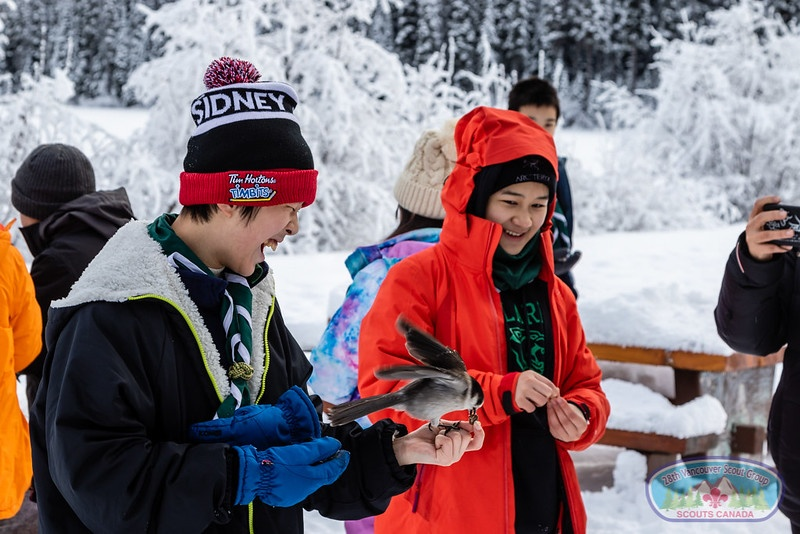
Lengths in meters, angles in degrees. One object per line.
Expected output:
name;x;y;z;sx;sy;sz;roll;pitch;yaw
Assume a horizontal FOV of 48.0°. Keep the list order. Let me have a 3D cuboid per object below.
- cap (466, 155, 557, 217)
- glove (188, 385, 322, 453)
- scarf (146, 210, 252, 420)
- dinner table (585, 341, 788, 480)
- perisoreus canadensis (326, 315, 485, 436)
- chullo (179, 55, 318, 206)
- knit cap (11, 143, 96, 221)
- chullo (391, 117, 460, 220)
cap;0.691;-0.469;5.570;0.368;0.237;0.467;1;-10;-41
glove;-0.750;0.862;4.992;0.510;0.217;0.326;-4;8;-12
scarf;-1.245;0.316;5.184;0.393;1.025;0.773;-21;-24;34
dinner table;2.140;1.244;8.324;1.704;0.840;1.706;11;-11;-32
perisoreus canadensis;0.112;0.665;5.046;0.630;0.368;0.762;1;16;-5
chullo;-0.954;-0.894;5.336;0.892;0.954;0.868;4;12;-3
knit cap;-2.670;-0.708;6.953;0.627;0.489;0.618;26;34;37
chullo;0.172;-0.672;6.327;0.502;0.652;0.239;19;-8;-15
